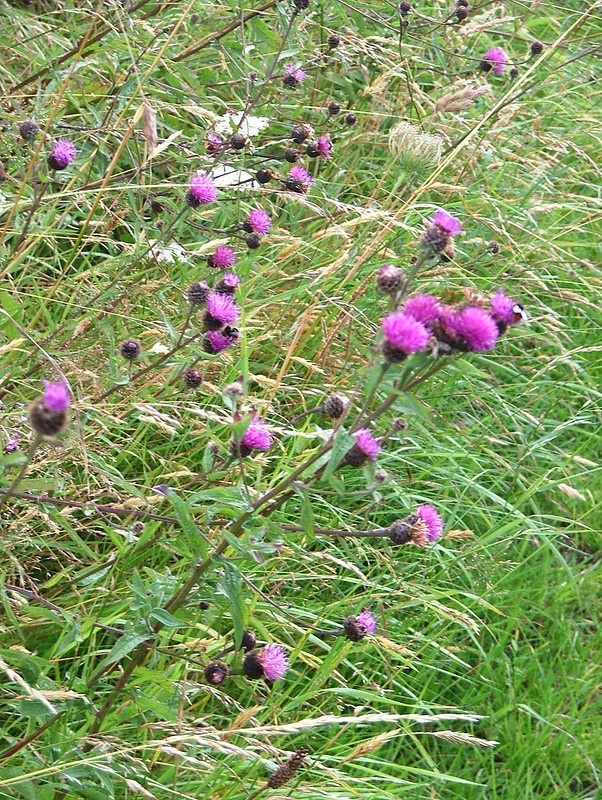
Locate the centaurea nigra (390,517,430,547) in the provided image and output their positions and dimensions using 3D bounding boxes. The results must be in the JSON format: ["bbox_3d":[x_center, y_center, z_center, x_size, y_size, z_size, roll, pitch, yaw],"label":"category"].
[{"bbox_3d":[0.275,0.324,2.218,0.100,0.075,0.052,3,50,15],"label":"centaurea nigra"}]

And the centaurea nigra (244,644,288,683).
[{"bbox_3d":[-0.072,0.607,2.032,0.122,0.088,0.074,-1,74,17],"label":"centaurea nigra"}]
